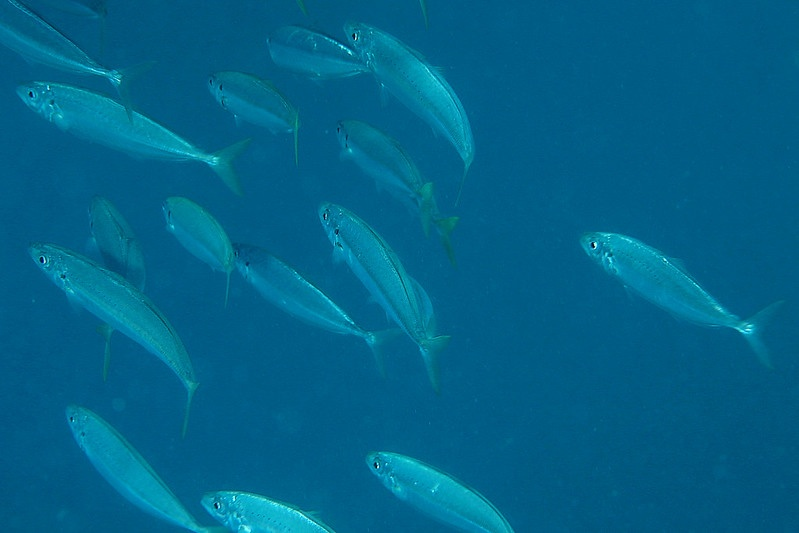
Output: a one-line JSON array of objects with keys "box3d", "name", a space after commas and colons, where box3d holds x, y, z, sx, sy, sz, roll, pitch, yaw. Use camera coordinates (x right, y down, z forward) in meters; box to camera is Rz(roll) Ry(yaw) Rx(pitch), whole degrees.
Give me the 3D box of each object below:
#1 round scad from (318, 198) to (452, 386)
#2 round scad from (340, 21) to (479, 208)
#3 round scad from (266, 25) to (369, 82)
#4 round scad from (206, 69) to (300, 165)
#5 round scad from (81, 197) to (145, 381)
[{"box3d": [-0.103, 0.167, 6.322, 0.351, 1.083, 0.189, -38, -16, 29], "name": "round scad"}, {"box3d": [0.027, -0.871, 6.308, 0.942, 0.372, 0.288, 47, 32, 4], "name": "round scad"}, {"box3d": [-0.484, -1.204, 6.228, 0.493, 0.308, 0.179, 29, 30, 7], "name": "round scad"}, {"box3d": [-0.780, -0.861, 6.222, 0.759, 0.333, 0.134, 27, 31, 14], "name": "round scad"}, {"box3d": [-1.594, 0.069, 6.162, 0.276, 1.041, 0.360, -1, -21, -10], "name": "round scad"}]
